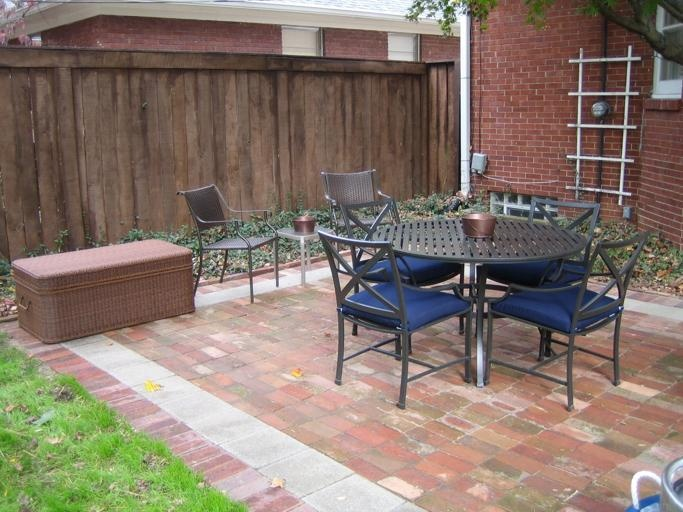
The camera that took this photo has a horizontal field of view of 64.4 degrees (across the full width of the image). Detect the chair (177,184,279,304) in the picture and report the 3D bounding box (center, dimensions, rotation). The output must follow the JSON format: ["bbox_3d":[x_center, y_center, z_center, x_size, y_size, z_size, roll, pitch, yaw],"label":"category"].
[{"bbox_3d":[-1.122,-0.160,5.432,0.831,0.914,0.647,7,17,13],"label":"chair"}]

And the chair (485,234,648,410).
[{"bbox_3d":[1.451,0.349,3.575,0.930,1.002,0.877,4,12,27],"label":"chair"}]

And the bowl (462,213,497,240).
[{"bbox_3d":[0.964,-0.206,3.796,0.203,0.104,0.192,-1,9,0],"label":"bowl"}]

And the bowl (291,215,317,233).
[{"bbox_3d":[-0.368,-0.318,5.511,0.208,0.171,0.297,-8,13,-14],"label":"bowl"}]

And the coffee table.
[{"bbox_3d":[-0.443,-0.029,6.111,0.808,0.644,0.791,8,3,-4],"label":"coffee table"}]

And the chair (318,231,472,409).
[{"bbox_3d":[0.304,0.294,3.704,0.942,1.064,0.998,-15,16,-34],"label":"chair"}]

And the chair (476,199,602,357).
[{"bbox_3d":[1.553,0.062,4.263,0.653,0.962,0.759,12,15,40],"label":"chair"}]
